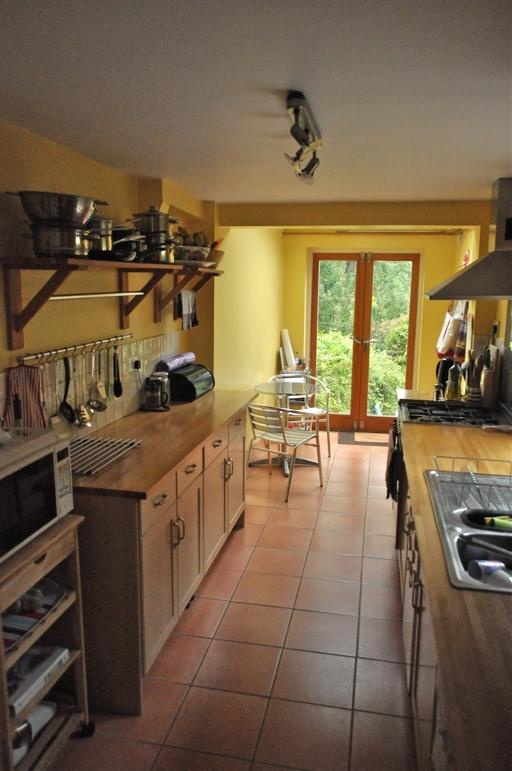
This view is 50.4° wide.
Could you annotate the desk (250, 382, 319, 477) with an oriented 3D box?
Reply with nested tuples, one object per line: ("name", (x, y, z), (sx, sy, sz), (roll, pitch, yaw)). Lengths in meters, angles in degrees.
("desk", (0.241, 0.425, 4.975), (0.557, 0.881, 0.559), (13, 22, 40))

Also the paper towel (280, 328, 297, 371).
("paper towel", (0.399, -0.430, 6.515), (0.184, 0.472, 0.304), (1, 8, 5))

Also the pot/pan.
("pot/pan", (-0.632, -0.629, 2.184), (0.280, 0.309, 1.051), (1, 8, 11))

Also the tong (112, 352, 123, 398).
("tong", (-0.737, -0.050, 2.876), (0.050, 0.224, 0.033), (-2, 8, -5))

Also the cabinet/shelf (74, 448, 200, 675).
("cabinet/shelf", (-0.481, 0.680, 2.107), (0.316, 0.724, 0.803), (-1, 8, 4))

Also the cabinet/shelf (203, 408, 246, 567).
("cabinet/shelf", (-0.193, 0.596, 3.195), (0.293, 0.708, 0.782), (0, 12, 6))

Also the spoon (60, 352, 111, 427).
("spoon", (-0.804, 0.018, 2.542), (0.049, 0.297, 0.176), (-7, -6, 30))

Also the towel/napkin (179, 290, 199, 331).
("towel/napkin", (-0.492, -0.543, 3.886), (0.042, 0.274, 0.261), (-1, 8, 13))

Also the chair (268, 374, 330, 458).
("chair", (0.503, 0.310, 5.704), (0.738, 1.126, 0.891), (-2, 12, 2))

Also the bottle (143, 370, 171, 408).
("bottle", (-0.602, 0.031, 3.272), (0.172, 0.220, 0.154), (-3, 9, -21))
